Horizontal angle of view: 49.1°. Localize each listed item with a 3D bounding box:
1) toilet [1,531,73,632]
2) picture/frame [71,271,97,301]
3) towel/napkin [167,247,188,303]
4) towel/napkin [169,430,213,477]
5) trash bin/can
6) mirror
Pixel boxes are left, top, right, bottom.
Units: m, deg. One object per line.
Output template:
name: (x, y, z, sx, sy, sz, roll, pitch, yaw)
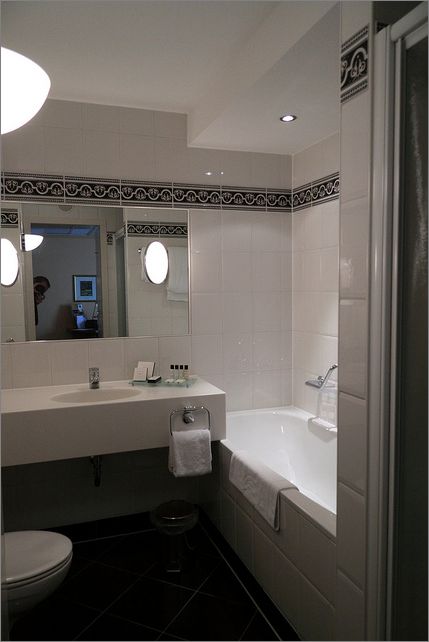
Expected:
toilet: (-0.714, 1.016, 1.913, 0.250, 0.267, 0.416, -2, 1, -27)
picture/frame: (-0.770, -0.210, 2.762, 0.145, 0.201, 0.013, -1, 3, -32)
towel/napkin: (-0.223, -0.300, 2.948, 0.182, 0.303, 0.081, -1, 1, -18)
towel/napkin: (-0.125, 0.659, 2.366, 0.206, 0.232, 0.087, 0, 4, -28)
trash bin/can: (-0.213, 1.103, 2.460, 0.228, 0.265, 0.234, -7, 10, -41)
mirror: (-0.617, -0.291, 2.811, 0.970, 0.621, 0.028, -2, 1, -21)
